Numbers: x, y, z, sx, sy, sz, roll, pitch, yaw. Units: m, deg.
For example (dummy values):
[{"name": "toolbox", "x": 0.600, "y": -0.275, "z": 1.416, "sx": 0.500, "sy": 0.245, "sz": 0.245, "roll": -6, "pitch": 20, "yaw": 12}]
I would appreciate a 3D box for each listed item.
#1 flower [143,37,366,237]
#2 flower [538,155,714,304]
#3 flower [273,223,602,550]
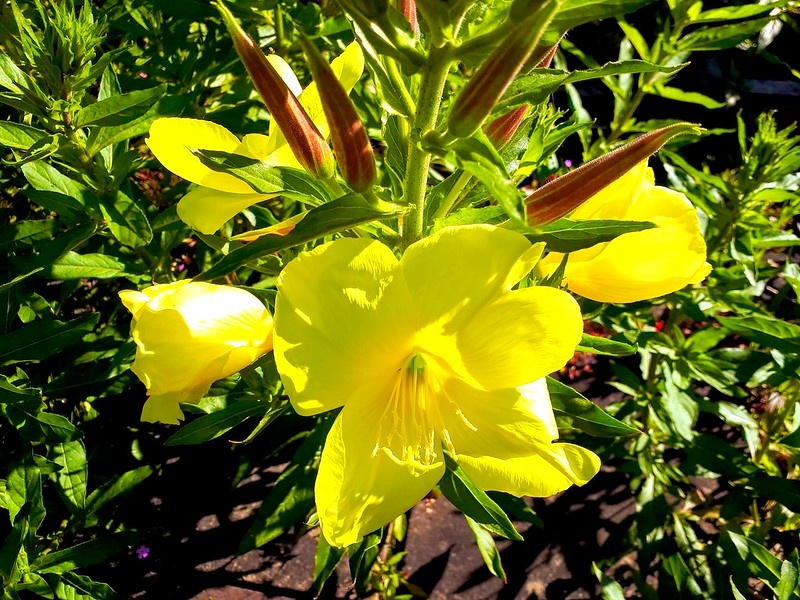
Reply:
[{"name": "flower", "x": -0.434, "y": -0.462, "z": 2.179, "sx": 0.548, "sy": 0.593, "sz": 0.301, "roll": -8, "pitch": -27, "yaw": 13}, {"name": "flower", "x": 0.686, "y": -0.171, "z": 2.156, "sx": 0.450, "sy": 0.256, "sz": 0.416, "roll": -43, "pitch": 32, "yaw": -16}, {"name": "flower", "x": 0.050, "y": 0.142, "z": 1.949, "sx": 0.975, "sy": 0.437, "sz": 0.860, "roll": 22, "pitch": 34, "yaw": -12}]
